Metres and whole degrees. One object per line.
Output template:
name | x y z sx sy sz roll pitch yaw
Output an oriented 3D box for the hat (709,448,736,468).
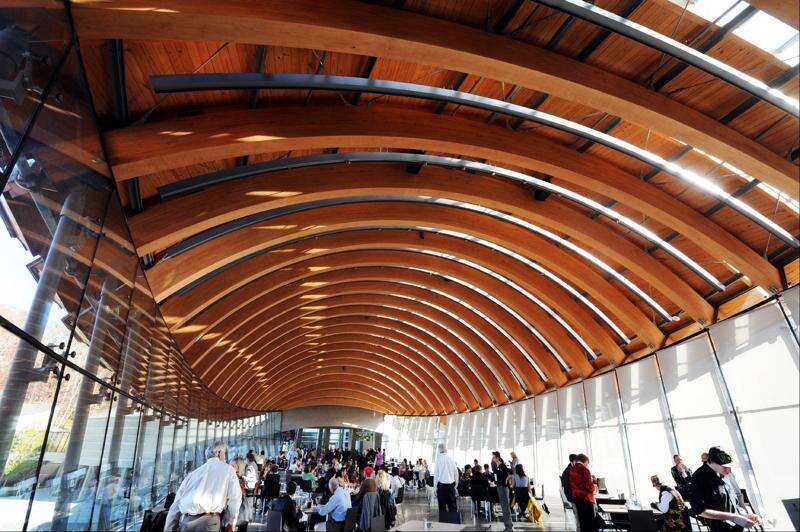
hat | 6.059 3.649 8.281 0.355 0.236 0.435 -3 -14 0
